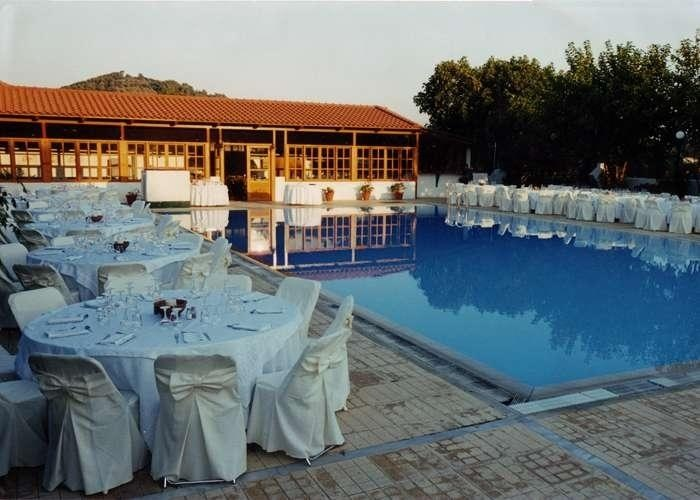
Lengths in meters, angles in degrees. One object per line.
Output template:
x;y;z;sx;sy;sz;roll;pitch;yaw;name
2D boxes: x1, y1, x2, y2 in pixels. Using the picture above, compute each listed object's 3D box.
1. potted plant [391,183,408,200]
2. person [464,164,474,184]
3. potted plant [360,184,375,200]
2.458;-3.087;26.555;0.832;0.834;0.827;3;-2;-18;potted plant
6.936;-4.500;29.768;0.517;1.023;1.265;2;8;13;person
0.791;-2.924;25.803;0.827;0.840;0.715;0;-2;9;potted plant
